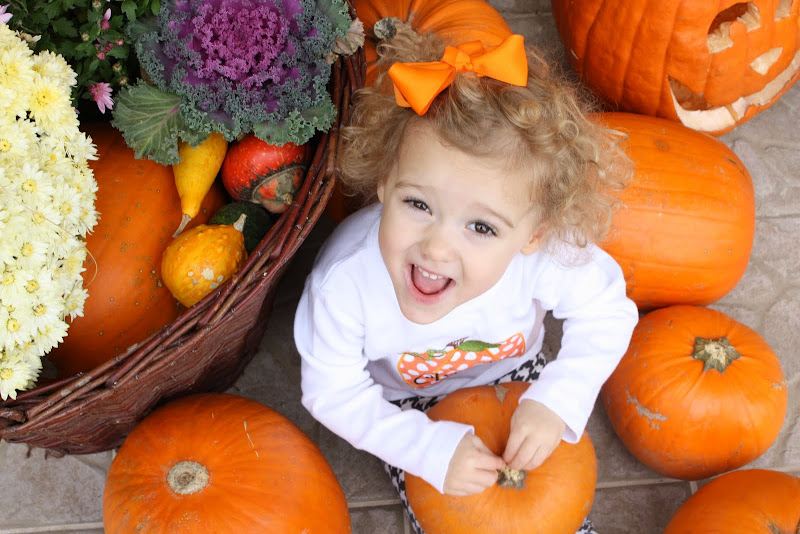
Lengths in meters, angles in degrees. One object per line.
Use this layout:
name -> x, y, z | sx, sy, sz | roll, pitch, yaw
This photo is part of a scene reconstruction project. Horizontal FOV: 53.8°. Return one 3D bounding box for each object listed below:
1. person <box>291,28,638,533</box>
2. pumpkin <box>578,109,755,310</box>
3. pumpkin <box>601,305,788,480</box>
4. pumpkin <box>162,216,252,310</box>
person -> 0.187, 0.052, 2.355 | 0.855, 1.256, 1.122 | -16, 69, 3
pumpkin -> 0.923, -0.078, 2.675 | 0.492, 0.449, 0.680 | 28, 86, 18
pumpkin -> 1.017, 0.481, 2.766 | 0.509, 0.519, 0.565 | 29, 72, 24
pumpkin -> -0.563, -0.030, 2.376 | 0.262, 0.191, 0.194 | -46, 16, 3
